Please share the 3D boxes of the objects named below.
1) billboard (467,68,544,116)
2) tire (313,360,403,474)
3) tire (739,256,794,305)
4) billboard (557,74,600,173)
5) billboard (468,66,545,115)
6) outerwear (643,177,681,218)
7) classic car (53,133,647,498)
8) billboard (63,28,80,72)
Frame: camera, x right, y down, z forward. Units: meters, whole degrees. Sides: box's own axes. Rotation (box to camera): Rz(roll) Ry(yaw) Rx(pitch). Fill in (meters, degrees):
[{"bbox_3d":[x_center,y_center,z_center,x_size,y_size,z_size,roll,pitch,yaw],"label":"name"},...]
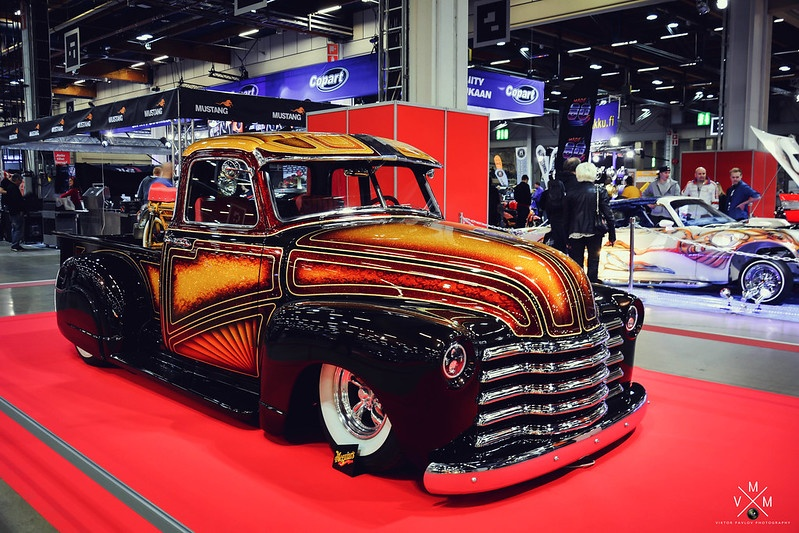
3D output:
[{"bbox_3d":[3.477,-6.779,21.283,3.545,0.972,3.331,10,17,6],"label":"billboard"},{"bbox_3d":[-0.279,1.059,3.909,0.286,0.775,0.785,-5,14,-45],"label":"tire"},{"bbox_3d":[5.976,0.216,8.881,0.324,0.761,0.771,2,-4,-34],"label":"tire"},{"bbox_3d":[6.805,-5.406,21.064,1.082,4.414,0.016,8,44,14],"label":"billboard"},{"bbox_3d":[4.046,-6.580,20.683,3.144,1.005,0.983,24,30,39],"label":"billboard"},{"bbox_3d":[5.596,-1.489,11.419,0.281,0.675,0.695,-12,-10,27],"label":"outerwear"},{"bbox_3d":[-0.476,0.119,4.712,4.570,2.523,1.921,7,13,33],"label":"classic car"},{"bbox_3d":[-11.569,-7.559,19.244,1.330,1.357,0.024,8,9,38],"label":"billboard"}]
